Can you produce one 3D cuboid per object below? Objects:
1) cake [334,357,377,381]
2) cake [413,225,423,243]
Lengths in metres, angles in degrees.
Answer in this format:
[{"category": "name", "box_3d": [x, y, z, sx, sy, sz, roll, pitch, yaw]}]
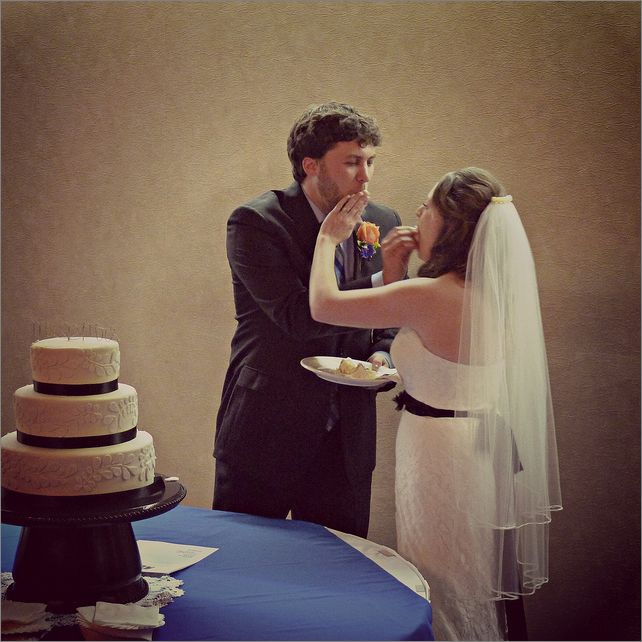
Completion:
[{"category": "cake", "box_3d": [0.130, 0.174, 2.775, 0.095, 0.035, 0.090, 10, -5, 27]}, {"category": "cake", "box_3d": [0.334, -0.305, 2.776, 0.017, 0.048, 0.044, 1, -1, 11]}]
